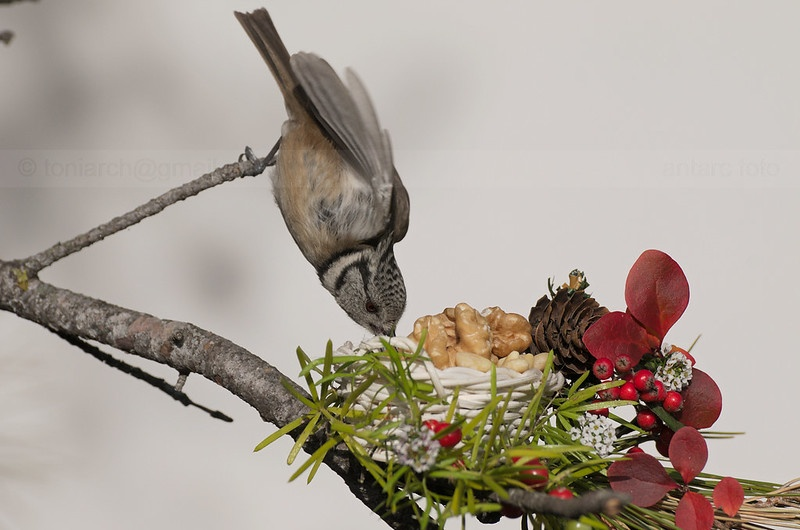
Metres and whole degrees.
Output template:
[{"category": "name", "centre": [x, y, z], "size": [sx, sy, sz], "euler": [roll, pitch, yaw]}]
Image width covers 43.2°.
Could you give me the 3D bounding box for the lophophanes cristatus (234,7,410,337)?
[{"category": "lophophanes cristatus", "centre": [-0.235, -0.301, 3.789], "size": [0.383, 1.335, 1.032], "euler": [-12, -42, -3]}]

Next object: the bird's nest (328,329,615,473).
[{"category": "bird's nest", "centre": [0.161, 0.394, 3.349], "size": [0.664, 0.325, 0.618], "euler": [-1, -11, 6]}]
